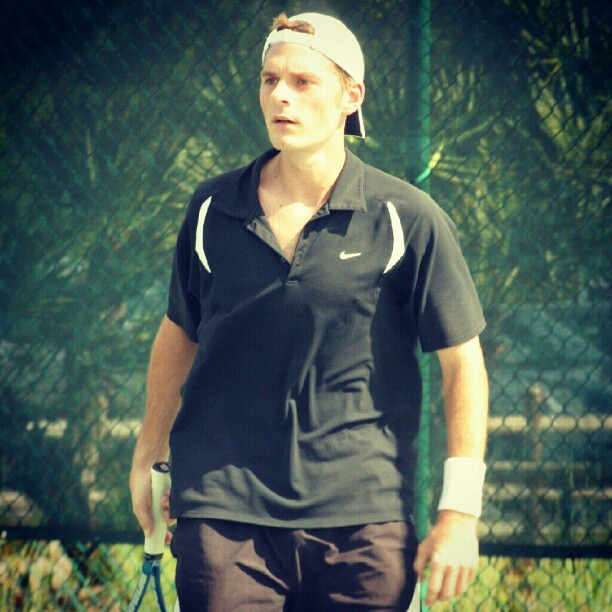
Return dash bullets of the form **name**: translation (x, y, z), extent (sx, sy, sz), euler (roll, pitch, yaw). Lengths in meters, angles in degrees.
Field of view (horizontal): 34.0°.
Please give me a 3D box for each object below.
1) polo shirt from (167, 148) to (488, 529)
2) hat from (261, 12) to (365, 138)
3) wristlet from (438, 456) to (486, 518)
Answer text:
- **polo shirt**: translation (0.038, 0.097, 3.227), extent (0.954, 1.176, 0.337), euler (0, -1, -4)
- **hat**: translation (0.014, -0.828, 3.305), extent (0.259, 0.489, 0.298), euler (-8, 19, -30)
- **wristlet**: translation (0.481, 0.557, 3.108), extent (0.130, 0.177, 0.062), euler (0, -1, 9)
